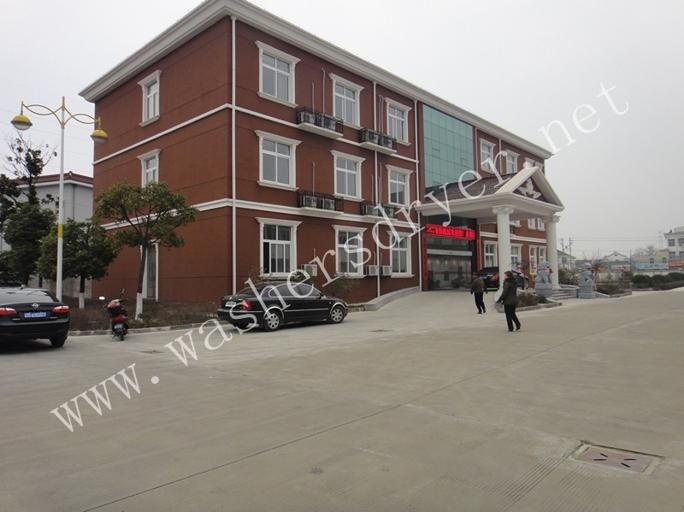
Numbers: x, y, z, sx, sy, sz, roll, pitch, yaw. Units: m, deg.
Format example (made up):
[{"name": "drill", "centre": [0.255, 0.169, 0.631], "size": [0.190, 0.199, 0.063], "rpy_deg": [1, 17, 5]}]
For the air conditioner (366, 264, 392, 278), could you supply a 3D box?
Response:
[{"name": "air conditioner", "centre": [1.893, 0.779, 27.536], "size": [0.352, 0.737, 2.035], "rpy_deg": [2, 5, 41]}]

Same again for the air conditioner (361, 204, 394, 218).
[{"name": "air conditioner", "centre": [1.913, -2.473, 27.861], "size": [0.574, 0.710, 2.683], "rpy_deg": [2, 5, 37]}]

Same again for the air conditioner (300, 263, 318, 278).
[{"name": "air conditioner", "centre": [-1.447, 0.730, 23.783], "size": [0.491, 0.778, 0.994], "rpy_deg": [-3, -6, 34]}]

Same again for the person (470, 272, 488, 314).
[{"name": "person", "centre": [5.606, 1.571, 21.454], "size": [0.508, 1.505, 1.565], "rpy_deg": [0, 4, 17]}]

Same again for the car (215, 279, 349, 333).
[{"name": "car", "centre": [-2.004, 1.634, 17.867], "size": [3.927, 1.355, 1.686], "rpy_deg": [0, -5, -38]}]

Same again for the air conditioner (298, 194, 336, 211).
[{"name": "air conditioner", "centre": [-1.164, -2.579, 24.354], "size": [0.653, 0.761, 2.202], "rpy_deg": [2, 5, 37]}]
